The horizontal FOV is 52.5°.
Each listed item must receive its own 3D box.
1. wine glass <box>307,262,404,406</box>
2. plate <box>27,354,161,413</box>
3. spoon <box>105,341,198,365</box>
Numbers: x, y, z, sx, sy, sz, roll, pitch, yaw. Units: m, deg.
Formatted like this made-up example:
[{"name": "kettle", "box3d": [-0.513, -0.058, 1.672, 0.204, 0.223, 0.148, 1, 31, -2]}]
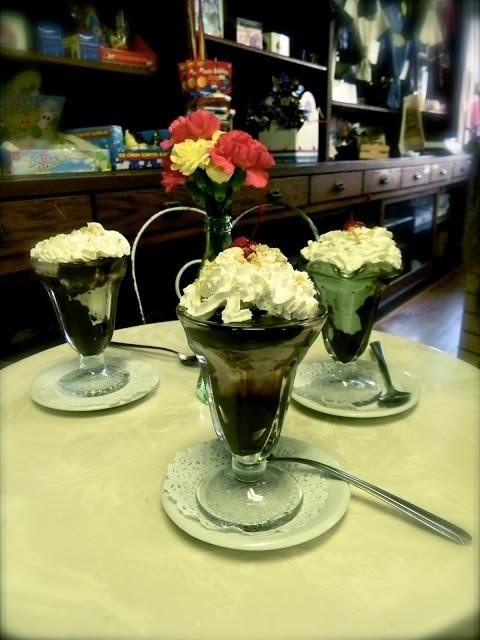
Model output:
[{"name": "wine glass", "box3d": [0.144, 0.014, 0.698, 0.146, 0.174, 0.145, -4, 3, 18]}, {"name": "plate", "box3d": [-0.190, 0.089, 0.639, 0.134, 0.135, 0.018, -23, 61, 14]}, {"name": "spoon", "box3d": [-0.150, 0.056, 0.806, 0.166, 0.017, 0.023, 11, 14, 12]}]
